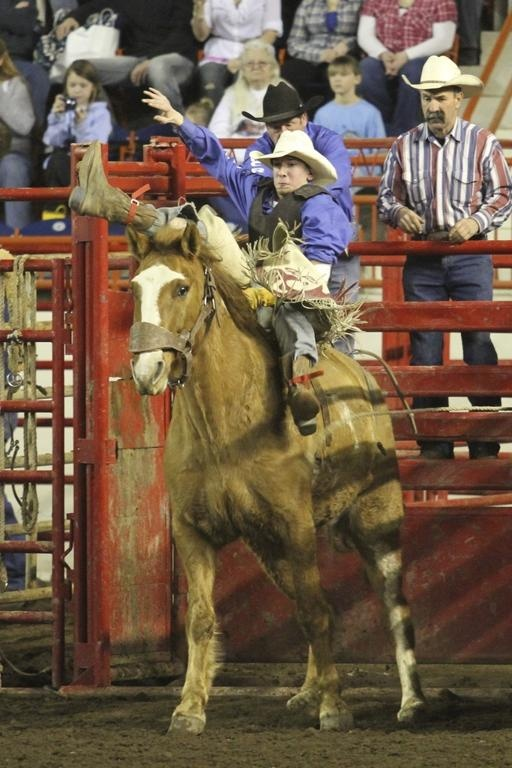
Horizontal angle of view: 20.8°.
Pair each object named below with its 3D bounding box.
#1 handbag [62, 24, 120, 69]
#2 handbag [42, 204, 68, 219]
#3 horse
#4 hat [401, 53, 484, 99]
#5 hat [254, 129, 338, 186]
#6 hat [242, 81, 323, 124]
[{"bbox_3d":[-1.400,-2.912,12.053,0.473,0.404,0.173,-6,-28,20],"label":"handbag"},{"bbox_3d":[-1.731,-1.492,11.963,0.170,0.143,0.343,-4,6,-40],"label":"handbag"},{"bbox_3d":[0.083,0.385,5.911,1.567,2.130,0.651,-4,6,-40],"label":"horse"},{"bbox_3d":[1.042,-1.656,7.442,0.348,0.208,0.394,0,4,6],"label":"hat"},{"bbox_3d":[0.179,-1.043,6.319,0.245,0.126,0.321,-7,-12,39],"label":"hat"},{"bbox_3d":[0.172,-1.402,6.990,0.322,0.139,0.372,-15,11,18],"label":"hat"}]
